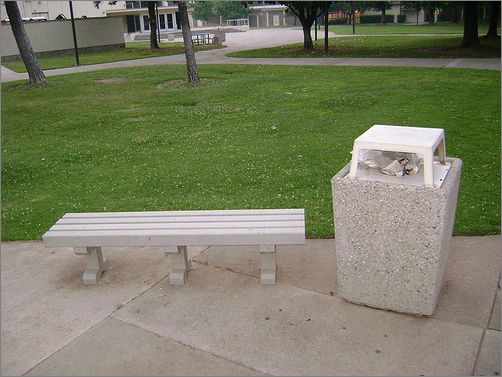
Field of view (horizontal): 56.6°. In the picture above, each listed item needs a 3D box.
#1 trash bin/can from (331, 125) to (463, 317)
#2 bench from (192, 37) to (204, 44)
[{"bbox_3d":[1.551,0.319,5.107,1.217,1.792,0.987,7,26,23],"label":"trash bin/can"},{"bbox_3d":[-5.150,-14.257,45.248,1.331,0.345,1.302,-4,30,-8],"label":"bench"}]
